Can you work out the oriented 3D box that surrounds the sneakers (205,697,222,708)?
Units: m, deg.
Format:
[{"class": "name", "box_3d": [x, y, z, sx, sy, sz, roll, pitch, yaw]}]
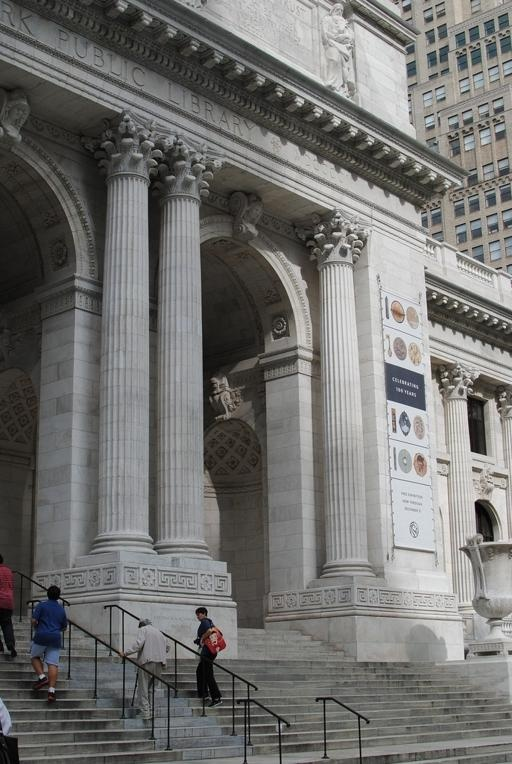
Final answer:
[{"class": "sneakers", "box_3d": [-0.732, 5.273, 15.636, 0.351, 0.130, 0.127, -3, -10, 29]}]

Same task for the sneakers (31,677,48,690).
[{"class": "sneakers", "box_3d": [-3.012, 4.264, 13.401, 0.192, 0.188, 0.238, 3, -18, -12]}]

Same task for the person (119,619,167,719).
[{"class": "person", "box_3d": [-1.650, 4.345, 14.415, 0.593, 1.462, 1.412, 1, -18, -6]}]

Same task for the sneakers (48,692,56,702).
[{"class": "sneakers", "box_3d": [-2.788, 4.364, 13.124, 0.067, 0.077, 0.189, -3, -17, 7]}]

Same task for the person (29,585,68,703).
[{"class": "person", "box_3d": [-2.984, 3.764, 13.757, 0.490, 1.633, 1.106, 3, -18, -12]}]

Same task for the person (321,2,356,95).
[{"class": "person", "box_3d": [2.650, -10.622, 30.437, 0.484, 3.561, 1.563, -14, -22, 33]}]
